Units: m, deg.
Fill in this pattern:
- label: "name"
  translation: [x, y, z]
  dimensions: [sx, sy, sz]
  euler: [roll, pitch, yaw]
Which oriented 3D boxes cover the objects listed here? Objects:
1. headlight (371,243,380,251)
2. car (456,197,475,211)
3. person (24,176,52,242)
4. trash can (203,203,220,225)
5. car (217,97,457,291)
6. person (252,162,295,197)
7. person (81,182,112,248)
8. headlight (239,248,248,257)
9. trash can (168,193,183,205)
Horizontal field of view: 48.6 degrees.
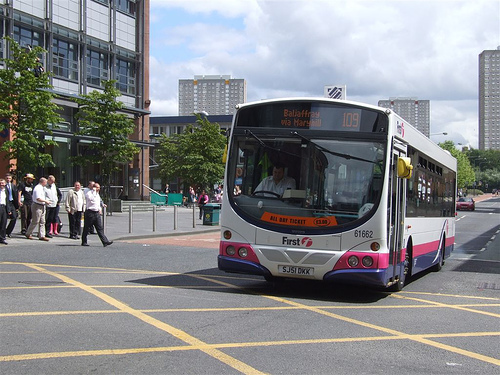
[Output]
- label: "headlight"
  translation: [2.074, 0.989, 9.284]
  dimensions: [0.135, 0.123, 0.026]
  euler: [0, 0, 12]
- label: "car"
  translation: [24.336, 1.871, 63.095]
  dimensions: [1.829, 1.545, 3.003]
  euler: [0, -1, 25]
- label: "person"
  translation: [-6.886, 0.691, 18.060]
  dimensions: [0.749, 1.395, 1.084]
  euler: [0, 0, -24]
- label: "trash can"
  translation: [-1.950, 1.325, 27.486]
  dimensions: [0.793, 0.836, 0.743]
  euler: [0, 0, -7]
- label: "car"
  translation: [3.029, 0.387, 13.874]
  dimensions: [3.273, 3.555, 9.720]
  euler: [2, -2, 27]
- label: "person"
  translation: [0.428, -0.089, 9.718]
  dimensions: [0.772, 0.658, 0.423]
  euler: [8, 0, 14]
- label: "person"
  translation: [-4.879, 0.831, 17.450]
  dimensions: [0.834, 1.400, 2.204]
  euler: [0, 0, -17]
- label: "headlight"
  translation: [-0.136, 1.139, 9.815]
  dimensions: [0.127, 0.138, 0.134]
  euler: [3, 8, 10]
- label: "trash can"
  translation: [-6.807, 1.055, 50.326]
  dimensions: [1.222, 0.771, 1.325]
  euler: [1, 0, -13]
